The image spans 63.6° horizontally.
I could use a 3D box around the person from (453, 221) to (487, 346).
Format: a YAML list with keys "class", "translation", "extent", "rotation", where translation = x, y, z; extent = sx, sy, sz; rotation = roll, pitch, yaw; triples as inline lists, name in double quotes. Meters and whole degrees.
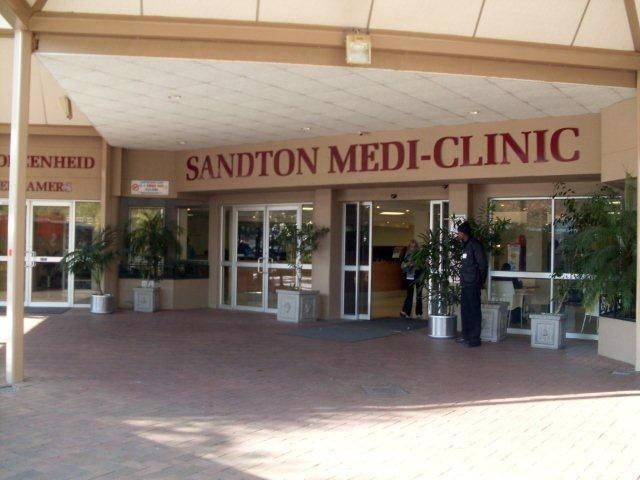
- class: "person"
  translation: [2.966, 0.812, 10.103]
  extent: [0.529, 2.448, 0.767]
  rotation: [1, 0, 15]

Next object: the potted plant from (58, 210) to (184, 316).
- class: "potted plant"
  translation: [-5.665, 0.480, 15.201]
  extent: [3.281, 2.569, 1.995]
  rotation: [2, -2, -12]

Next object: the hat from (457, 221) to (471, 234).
- class: "hat"
  translation: [2.892, -0.257, 10.304]
  extent: [0.234, 0.237, 0.273]
  rotation: [2, 17, 6]

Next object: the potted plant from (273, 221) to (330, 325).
- class: "potted plant"
  translation: [-0.658, 0.756, 13.260]
  extent: [1.187, 2.502, 1.538]
  rotation: [0, 0, -35]

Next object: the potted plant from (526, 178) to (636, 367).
- class: "potted plant"
  translation: [4.979, 0.457, 9.368]
  extent: [1.126, 3.243, 2.775]
  rotation: [1, 0, 17]
